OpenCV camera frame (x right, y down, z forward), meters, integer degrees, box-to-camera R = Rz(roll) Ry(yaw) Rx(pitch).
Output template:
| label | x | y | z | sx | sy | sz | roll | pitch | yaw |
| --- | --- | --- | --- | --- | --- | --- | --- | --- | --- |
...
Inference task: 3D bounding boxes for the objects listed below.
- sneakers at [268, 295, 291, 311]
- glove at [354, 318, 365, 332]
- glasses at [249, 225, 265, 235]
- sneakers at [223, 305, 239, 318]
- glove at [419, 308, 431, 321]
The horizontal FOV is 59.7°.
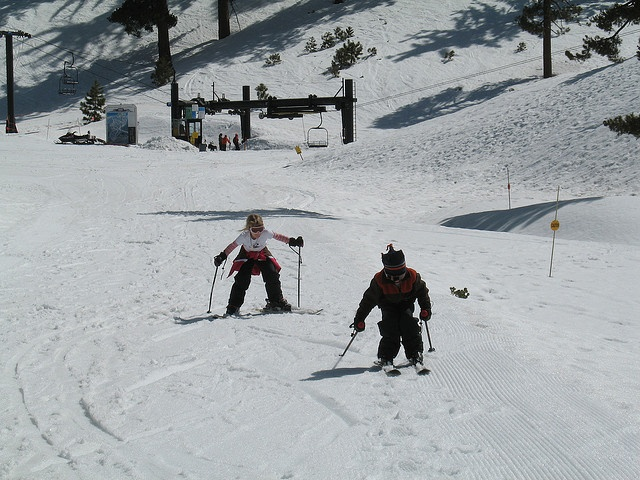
| label | x | y | z | sx | sy | sz | roll | pitch | yaw |
| --- | --- | --- | --- | --- | --- | --- | --- | --- | --- |
| sneakers | -0.628 | 1.010 | 8.715 | 0.447 | 0.196 | 0.155 | -1 | -1 | 9 |
| glove | 0.443 | 0.952 | 6.220 | 0.128 | 0.170 | 0.147 | 2 | 13 | 4 |
| glasses | -0.928 | -0.158 | 8.303 | 0.241 | 0.152 | 0.142 | -4 | 14 | -23 |
| sneakers | -1.335 | 1.057 | 8.411 | 0.203 | 0.162 | 0.393 | 1 | 12 | -3 |
| glove | 1.181 | 0.835 | 6.167 | 0.120 | 0.185 | 0.169 | 4 | 13 | 11 |
